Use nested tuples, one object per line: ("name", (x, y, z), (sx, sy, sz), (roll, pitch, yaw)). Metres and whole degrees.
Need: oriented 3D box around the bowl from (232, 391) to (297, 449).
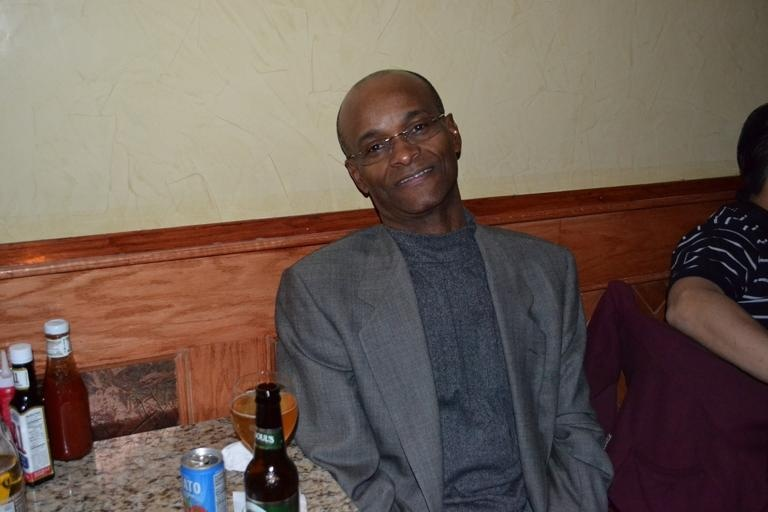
("bowl", (-0.285, 0.380, 1.345), (0.171, 0.133, 0.173), (-1, -3, 0))
